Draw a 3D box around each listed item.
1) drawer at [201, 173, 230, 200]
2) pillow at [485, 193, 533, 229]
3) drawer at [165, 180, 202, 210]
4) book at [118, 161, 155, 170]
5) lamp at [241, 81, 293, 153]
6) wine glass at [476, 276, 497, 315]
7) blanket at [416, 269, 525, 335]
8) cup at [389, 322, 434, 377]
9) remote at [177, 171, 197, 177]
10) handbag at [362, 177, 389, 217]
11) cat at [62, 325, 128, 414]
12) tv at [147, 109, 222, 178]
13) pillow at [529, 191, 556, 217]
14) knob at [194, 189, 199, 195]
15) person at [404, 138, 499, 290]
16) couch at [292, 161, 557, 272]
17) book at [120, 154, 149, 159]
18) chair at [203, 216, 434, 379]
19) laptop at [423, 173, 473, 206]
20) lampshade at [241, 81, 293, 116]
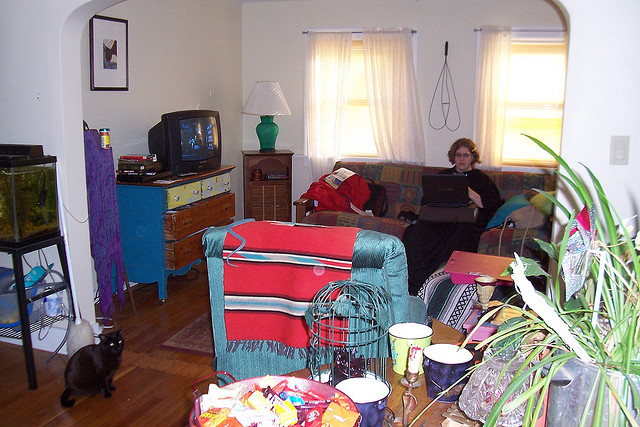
[{"bbox_3d":[-1.001,-0.270,4.557,0.057,0.223,0.238,23,17,31],"label":"drawer"},{"bbox_3d":[1.777,0.004,4.326,0.433,0.269,0.318,-8,14,-25],"label":"pillow"},{"bbox_3d":[-1.187,-0.168,4.147,0.048,0.192,0.491,2,13,19],"label":"drawer"},{"bbox_3d":[-1.532,-0.393,3.969,0.278,0.049,0.113,-5,13,-15],"label":"book"},{"bbox_3d":[-0.627,-1.098,5.513,0.570,0.809,0.555,2,4,29],"label":"lamp"},{"bbox_3d":[0.657,0.336,1.906,0.089,0.156,0.092,4,6,40],"label":"wine glass"},{"bbox_3d":[0.839,0.477,2.668,0.468,0.118,0.503,-1,15,-6],"label":"blanket"},{"bbox_3d":[0.310,0.456,1.704,0.177,0.140,0.173,0,1,0],"label":"cup"},{"bbox_3d":[-1.188,-0.358,4.274,0.051,0.029,0.220,5,15,30],"label":"remote"},{"bbox_3d":[0.663,-0.163,5.220,0.287,0.414,0.379,13,3,11],"label":"handbag"},{"bbox_3d":[-1.365,0.897,2.878,0.364,0.475,0.281,0,18,-13],"label":"cat"},{"bbox_3d":[-1.250,-0.678,4.498,0.409,0.603,0.645,11,19,35],"label":"tv"},{"bbox_3d":[1.963,-0.076,4.203,0.235,0.063,0.241,-17,-1,-37],"label":"pillow"},{"bbox_3d":[-1.116,-0.193,4.281,0.038,0.050,0.016,0,3,-29],"label":"knob"},{"bbox_3d":[1.217,0.070,4.564,0.755,1.085,1.894,4,28,26],"label":"person"},{"bbox_3d":[1.112,0.061,4.791,2.591,1.116,0.951,4,5,26],"label":"couch"},{"bbox_3d":[-1.568,-0.490,4.074,0.243,0.030,0.234,-2,13,1],"label":"book"},{"bbox_3d":[-0.129,0.398,2.577,0.888,0.875,0.744,6,17,8],"label":"chair"},{"bbox_3d":[1.192,-0.217,4.494,0.417,0.383,0.304,0,26,17],"label":"laptop"},{"bbox_3d":[-0.606,-1.273,5.450,0.421,0.296,0.429,1,5,-4],"label":"lampshade"}]
